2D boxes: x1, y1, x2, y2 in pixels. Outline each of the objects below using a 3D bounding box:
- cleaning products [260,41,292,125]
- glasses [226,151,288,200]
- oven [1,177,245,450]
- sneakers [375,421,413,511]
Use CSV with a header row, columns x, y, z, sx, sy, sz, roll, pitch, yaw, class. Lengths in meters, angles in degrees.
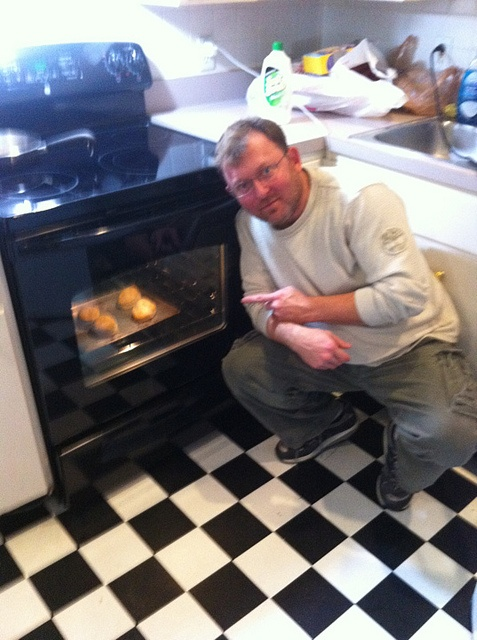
x,y,z,sx,sy,sz,roll,pitch,yaw,class
0.121,-0.739,1.591,0.099,0.224,0.178,-2,27,3,cleaning products
0.043,-0.330,1.110,0.098,0.032,0.103,-15,25,48,glasses
-0.279,-0.033,1.200,0.480,0.506,0.364,-31,49,-31,oven
0.423,0.402,1.425,0.077,0.085,0.212,0,65,7,sneakers
